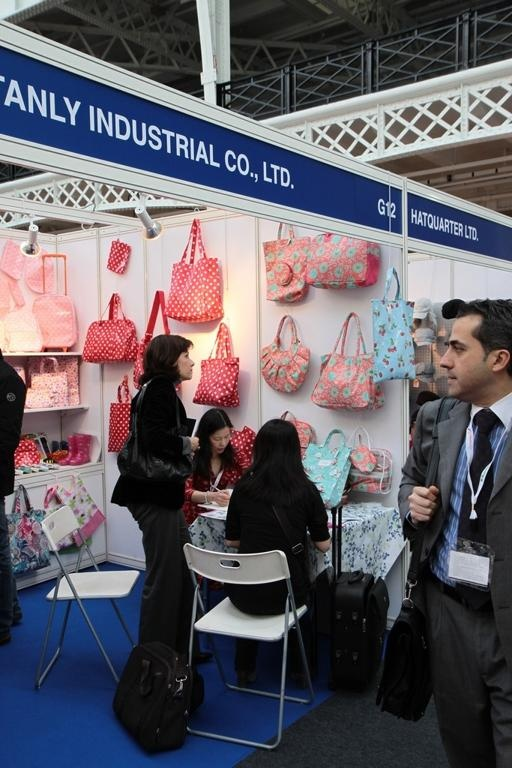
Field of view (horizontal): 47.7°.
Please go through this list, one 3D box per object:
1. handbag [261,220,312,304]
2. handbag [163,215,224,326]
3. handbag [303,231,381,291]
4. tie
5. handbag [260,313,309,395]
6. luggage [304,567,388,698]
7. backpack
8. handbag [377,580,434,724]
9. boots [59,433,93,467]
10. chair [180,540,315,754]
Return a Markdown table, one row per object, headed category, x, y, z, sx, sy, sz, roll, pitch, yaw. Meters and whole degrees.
| category | x | y | z | sx | sy | sz | roll | pitch | yaw |
| --- | --- | --- | --- | --- | --- | --- | --- | --- | --- |
| handbag | 0.235 | -0.829 | 3.860 | 0.167 | 0.554 | 0.407 | 2 | -4 | -42 |
| handbag | -0.437 | -0.847 | 4.238 | 0.357 | 0.774 | 0.267 | -2 | -3 | 25 |
| handbag | 0.536 | -0.738 | 3.469 | 0.359 | 0.342 | 0.142 | 0 | -10 | 26 |
| tie | 0.459 | 0.259 | 1.188 | 0.111 | 0.412 | 0.121 | 0 | -3 | -21 |
| handbag | 0.199 | -0.214 | 3.898 | 0.355 | 0.523 | 0.140 | -3 | -4 | 36 |
| luggage | 0.454 | 1.300 | 3.142 | 0.489 | 0.745 | 0.592 | -1 | 1 | 10 |
| backpack | -0.435 | 1.310 | 2.462 | 0.173 | 0.338 | 0.340 | 16 | -7 | -43 |
| handbag | 0.362 | 0.583 | 1.383 | 0.087 | 0.259 | 0.257 | -1 | 2 | 22 |
| boots | -1.494 | 0.564 | 4.911 | 0.186 | 0.243 | 0.258 | 0 | -2 | 23 |
| chair | -0.069 | 1.079 | 2.369 | 0.486 | 0.694 | 0.481 | 14 | -32 | -20 |
